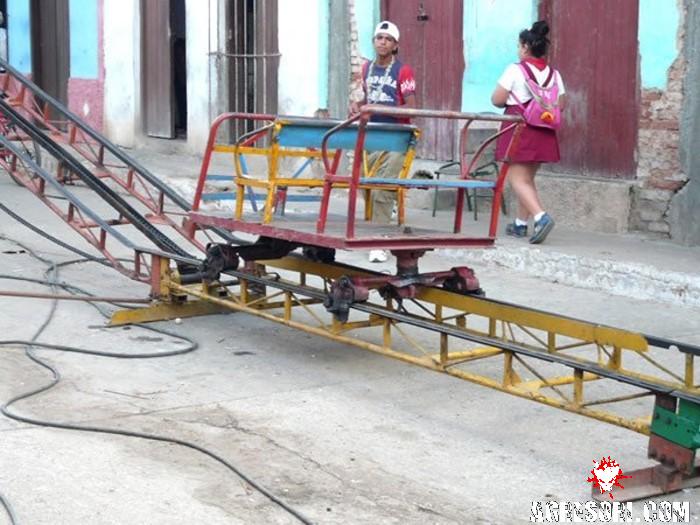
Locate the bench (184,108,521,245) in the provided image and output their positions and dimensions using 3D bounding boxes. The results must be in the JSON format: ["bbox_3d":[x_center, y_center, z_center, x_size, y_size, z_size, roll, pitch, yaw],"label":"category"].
[{"bbox_3d":[-0.327,-0.828,9.801,1.518,0.860,2.425,-2,9,-36],"label":"bench"}]

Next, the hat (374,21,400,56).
[{"bbox_3d":[0.355,-2.206,11.230,0.344,0.355,0.412,5,6,-1],"label":"hat"}]

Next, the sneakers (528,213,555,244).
[{"bbox_3d":[2.076,-0.362,12.977,0.216,0.178,0.476,38,-19,7],"label":"sneakers"}]

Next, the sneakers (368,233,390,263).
[{"bbox_3d":[0.240,-0.141,10.087,0.287,0.247,0.422,0,-2,1],"label":"sneakers"}]

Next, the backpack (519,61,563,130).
[{"bbox_3d":[2.097,-1.858,12.794,0.543,0.704,0.203,-3,8,-34],"label":"backpack"}]

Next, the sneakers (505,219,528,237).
[{"bbox_3d":[1.929,-0.406,13.539,0.155,0.117,0.292,-1,9,-12],"label":"sneakers"}]
